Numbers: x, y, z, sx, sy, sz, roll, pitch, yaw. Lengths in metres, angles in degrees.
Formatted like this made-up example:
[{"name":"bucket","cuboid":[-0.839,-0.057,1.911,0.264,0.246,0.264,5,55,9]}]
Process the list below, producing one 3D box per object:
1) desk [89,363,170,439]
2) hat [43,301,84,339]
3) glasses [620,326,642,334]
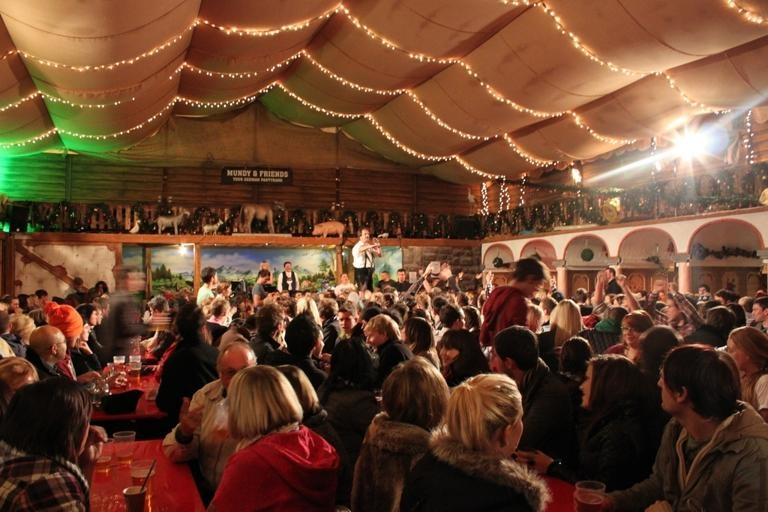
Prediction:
[{"name":"desk","cuboid":[-2.737,1.710,6.430,0.745,0.268,1.135,0,0,-10]},{"name":"hat","cuboid":[-3.739,0.758,6.901,0.237,0.281,0.326,-23,-51,28]},{"name":"glasses","cuboid":[2.572,0.763,6.118,0.161,0.053,0.169,0,-11,28]}]
